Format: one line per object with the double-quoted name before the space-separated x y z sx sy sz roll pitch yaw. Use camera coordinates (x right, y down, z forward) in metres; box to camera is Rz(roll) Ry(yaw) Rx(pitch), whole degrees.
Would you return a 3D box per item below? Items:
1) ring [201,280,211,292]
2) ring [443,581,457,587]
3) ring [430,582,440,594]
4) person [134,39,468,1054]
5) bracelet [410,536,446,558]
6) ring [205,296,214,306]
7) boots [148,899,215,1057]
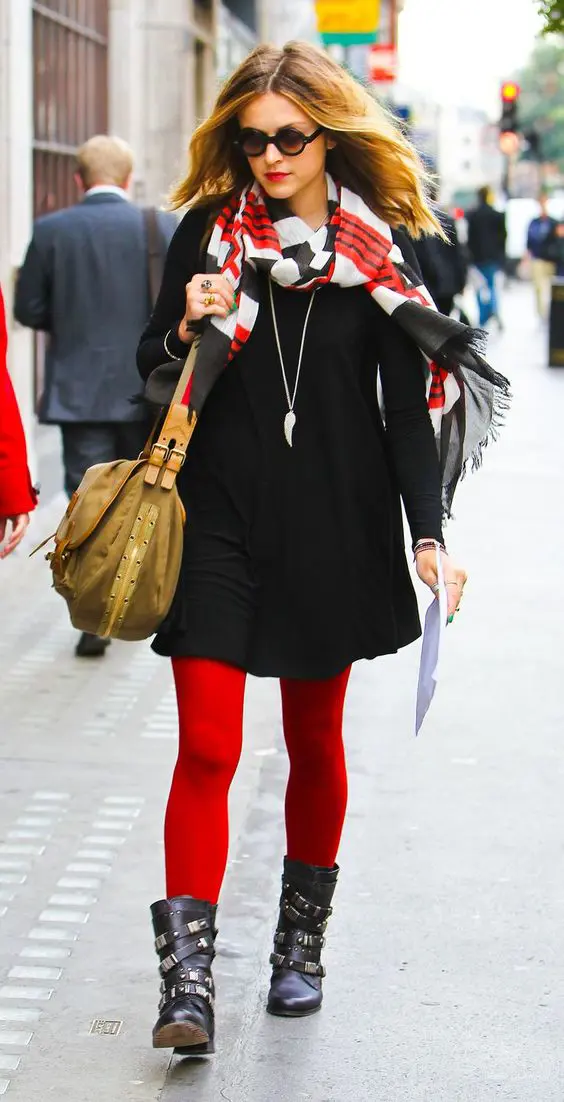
"ring" -0.112 -0.400 1.416 0.013 0.019 0.008 0 -7 3
"ring" 0.263 0.051 1.439 0.011 0.009 0.003 -3 46 0
"ring" 0.233 0.057 1.425 0.006 0.016 0.012 1 -2 -15
"person" 0.012 0.006 1.599 0.528 1.657 0.490 3 -6 -12
"bracelet" 0.236 -0.005 1.497 0.048 0.029 0.045 1 -6 9
"ring" -0.107 -0.376 1.409 0.010 0.015 0.007 1 11 -5
"boots" -0.154 0.680 1.466 0.106 0.281 0.234 2 -6 -5
